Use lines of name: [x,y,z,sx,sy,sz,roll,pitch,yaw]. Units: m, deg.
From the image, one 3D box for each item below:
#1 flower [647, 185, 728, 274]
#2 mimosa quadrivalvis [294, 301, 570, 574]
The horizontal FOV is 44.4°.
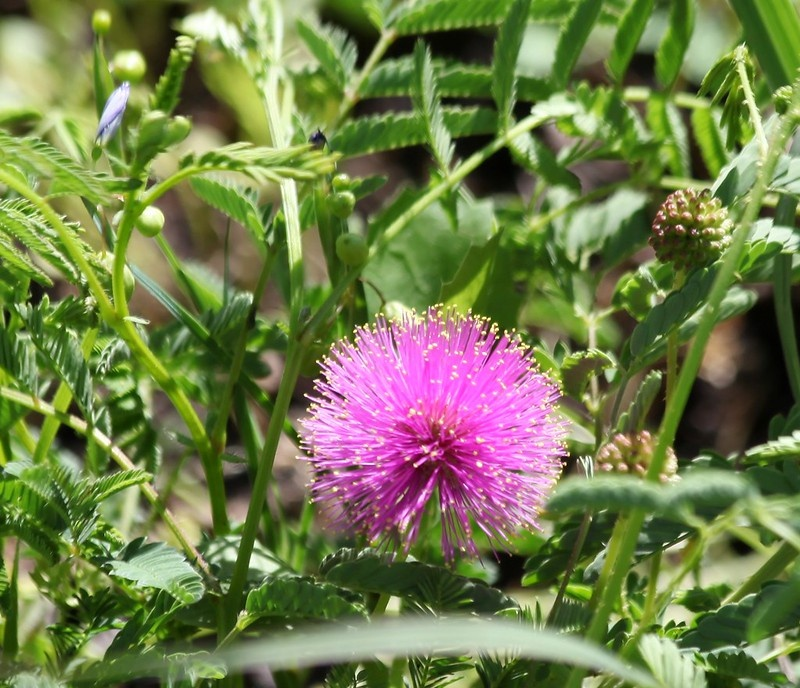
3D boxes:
flower: [0.245,-0.095,0.829,0.065,0.035,0.065,-44,81,-7]
mimosa quadrivalvis: [0.030,0.071,0.905,0.142,0.152,0.204,-2,99,-22]
